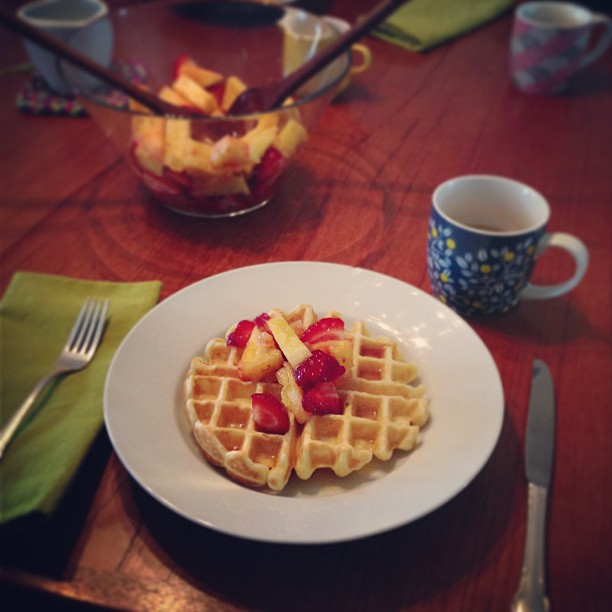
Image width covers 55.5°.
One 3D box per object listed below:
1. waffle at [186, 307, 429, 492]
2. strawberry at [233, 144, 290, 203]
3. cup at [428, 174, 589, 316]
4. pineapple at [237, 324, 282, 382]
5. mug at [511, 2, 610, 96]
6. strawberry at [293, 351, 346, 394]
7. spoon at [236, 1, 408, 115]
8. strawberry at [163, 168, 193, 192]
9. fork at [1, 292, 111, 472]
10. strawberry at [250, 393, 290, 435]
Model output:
[{"bbox_3d":[0.012,0.160,1.050,0.383,0.266,0.369,-1,22,2],"label":"waffle"},{"bbox_3d":[-0.092,-0.299,1.306,0.065,0.105,0.099,-10,29,-20],"label":"strawberry"},{"bbox_3d":[0.358,-0.124,1.185,0.324,0.237,0.219,30,53,34],"label":"cup"},{"bbox_3d":[-0.079,0.084,0.993,0.067,0.027,0.111,3,68,16],"label":"pineapple"},{"bbox_3d":[0.770,-0.840,1.766,0.292,0.323,0.181,17,33,33],"label":"mug"},{"bbox_3d":[0.020,0.106,0.960,0.088,0.057,0.049,-38,62,-18],"label":"strawberry"},{"bbox_3d":[0.022,-0.535,1.270,0.385,0.222,0.165,-8,56,-2],"label":"spoon"},{"bbox_3d":[-0.280,-0.266,1.245,0.036,0.039,0.012,24,81,-1],"label":"strawberry"},{"bbox_3d":[-0.411,0.094,1.018,0.048,0.054,0.394,-6,45,29],"label":"fork"},{"bbox_3d":[-0.057,0.172,0.935,0.058,0.068,0.018,-17,20,20],"label":"strawberry"}]
